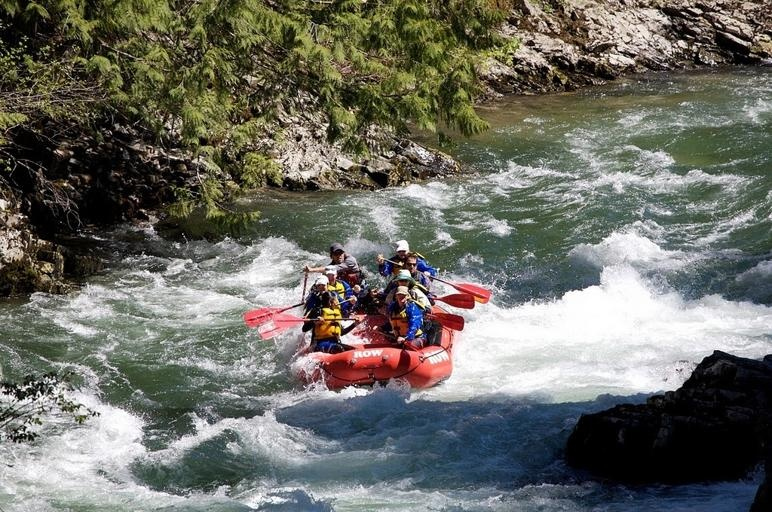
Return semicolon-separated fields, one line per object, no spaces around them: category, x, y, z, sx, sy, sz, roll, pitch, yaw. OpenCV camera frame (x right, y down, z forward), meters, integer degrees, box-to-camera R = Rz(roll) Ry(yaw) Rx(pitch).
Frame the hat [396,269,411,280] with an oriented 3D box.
hat;0.389;0.413;21.374;0.364;0.203;0.377;-3;9;-1

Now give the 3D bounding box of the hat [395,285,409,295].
hat;0.365;0.744;20.835;0.254;0.218;0.278;-2;10;1

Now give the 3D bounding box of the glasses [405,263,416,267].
glasses;0.570;0.204;22.107;0.228;0.142;0.083;-2;10;2

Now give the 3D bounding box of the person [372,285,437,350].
person;0.336;1.362;21.002;1.005;1.422;1.346;-24;22;-35

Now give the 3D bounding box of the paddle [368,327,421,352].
paddle;0.158;1.798;20.916;0.389;0.155;1.530;-12;10;-27

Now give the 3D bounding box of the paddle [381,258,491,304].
paddle;1.543;0.678;23.361;0.350;0.435;3.231;11;3;-27

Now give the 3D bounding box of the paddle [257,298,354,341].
paddle;-1.878;1.525;21.068;2.266;0.238;0.715;-2;50;7
